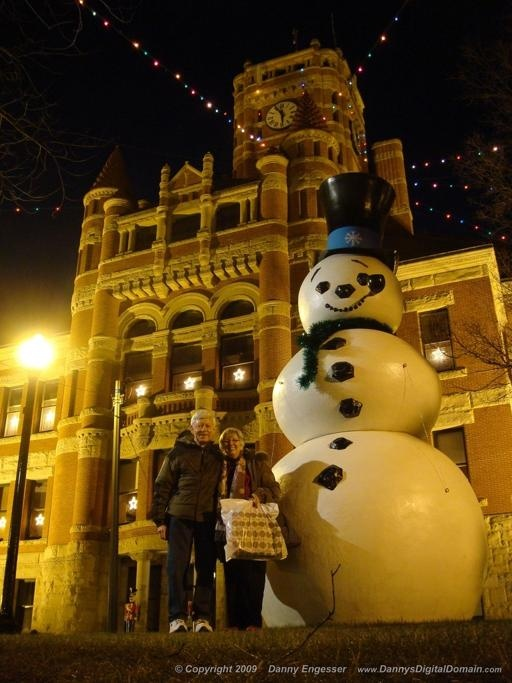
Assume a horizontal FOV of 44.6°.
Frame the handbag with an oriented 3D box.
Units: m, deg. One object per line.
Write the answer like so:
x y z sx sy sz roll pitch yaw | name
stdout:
-0.048 1.545 5.096 0.582 0.463 0.202 18 -35 -38 | handbag
